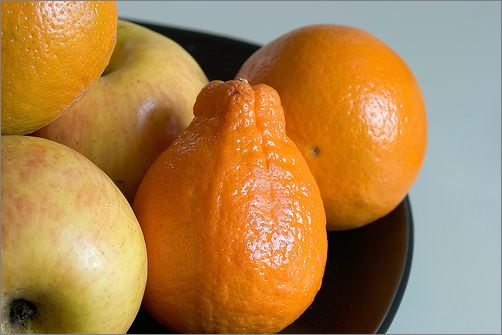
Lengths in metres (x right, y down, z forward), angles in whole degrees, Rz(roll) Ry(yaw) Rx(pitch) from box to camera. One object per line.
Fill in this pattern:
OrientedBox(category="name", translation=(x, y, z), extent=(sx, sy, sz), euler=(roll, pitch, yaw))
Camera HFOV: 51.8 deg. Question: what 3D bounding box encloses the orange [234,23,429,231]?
OrientedBox(category="orange", translation=(0.136, -0.060, 0.816), extent=(0.247, 0.285, 0.254), euler=(-13, -1, -15))
